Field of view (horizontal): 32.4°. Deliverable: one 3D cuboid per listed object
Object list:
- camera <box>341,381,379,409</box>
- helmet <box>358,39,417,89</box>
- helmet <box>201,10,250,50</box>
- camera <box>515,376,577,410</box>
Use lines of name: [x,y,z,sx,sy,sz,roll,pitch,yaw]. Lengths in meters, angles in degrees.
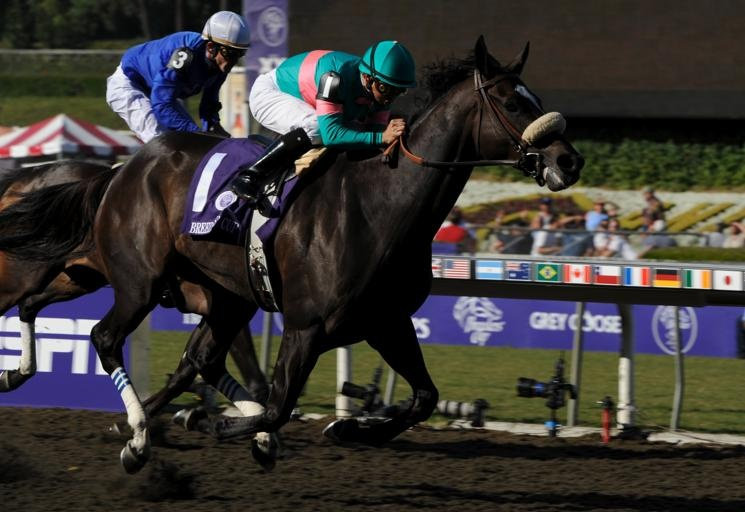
camera: [-0.090,1.070,9.922,0.139,0.152,0.481,17,-2,32]
helmet: [0.117,-1.298,8.742,0.415,0.200,0.298,26,26,16]
helmet: [-1.019,-1.665,9.567,0.382,0.240,0.280,15,10,32]
camera: [1.481,1.045,10.113,0.467,0.123,0.522,4,0,-41]
